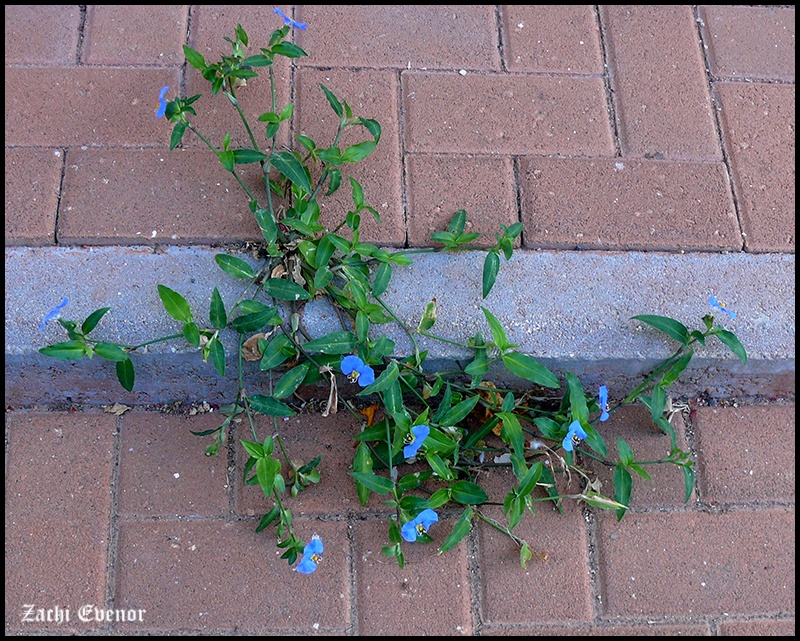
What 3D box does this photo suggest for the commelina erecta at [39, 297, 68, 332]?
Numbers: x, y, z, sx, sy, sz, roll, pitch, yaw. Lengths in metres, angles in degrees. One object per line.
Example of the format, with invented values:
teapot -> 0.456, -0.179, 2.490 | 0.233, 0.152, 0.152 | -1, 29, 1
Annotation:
commelina erecta -> -0.842, -0.011, 1.696 | 0.111, 0.027, 0.033 | -26, 54, 20

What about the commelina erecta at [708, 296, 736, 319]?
commelina erecta -> 0.809, -0.033, 1.754 | 0.017, 0.095, 0.047 | -44, 45, 24

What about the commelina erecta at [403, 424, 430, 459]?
commelina erecta -> 0.039, 0.264, 1.550 | 0.061, 0.031, 0.073 | 5, 74, 26

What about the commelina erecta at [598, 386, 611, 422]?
commelina erecta -> 0.501, 0.203, 1.704 | 0.029, 0.025, 0.107 | -9, 79, 58
